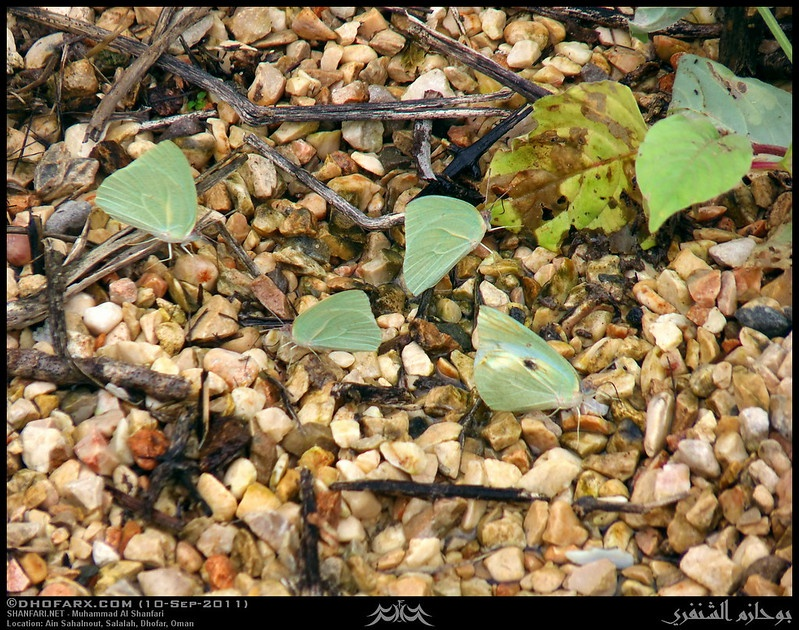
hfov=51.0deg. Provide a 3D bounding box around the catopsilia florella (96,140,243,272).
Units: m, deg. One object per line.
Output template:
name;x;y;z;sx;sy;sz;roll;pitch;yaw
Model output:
catopsilia florella;-0.859;-0.349;3.130;0.340;0.535;0.333;-3;60;31

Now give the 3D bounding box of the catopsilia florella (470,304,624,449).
catopsilia florella;0.443;0.163;3.001;0.640;0.437;0.256;18;22;9

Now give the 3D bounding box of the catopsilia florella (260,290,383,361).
catopsilia florella;-0.234;0.051;3.054;0.288;0.215;0.299;6;-23;-21
